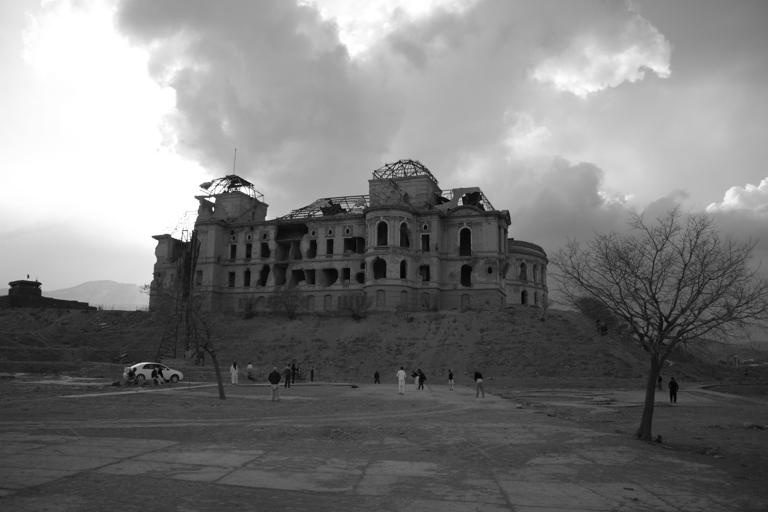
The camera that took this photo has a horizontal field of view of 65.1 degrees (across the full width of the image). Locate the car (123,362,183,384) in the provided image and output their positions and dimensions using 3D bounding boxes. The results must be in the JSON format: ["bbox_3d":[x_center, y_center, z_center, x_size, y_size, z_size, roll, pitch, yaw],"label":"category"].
[{"bbox_3d":[-18.361,9.588,48.166,4.451,1.451,1.972,2,-7,-31],"label":"car"}]

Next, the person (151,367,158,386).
[{"bbox_3d":[-18.254,9.528,47.874,0.539,1.098,1.088,-8,9,-21],"label":"person"}]
